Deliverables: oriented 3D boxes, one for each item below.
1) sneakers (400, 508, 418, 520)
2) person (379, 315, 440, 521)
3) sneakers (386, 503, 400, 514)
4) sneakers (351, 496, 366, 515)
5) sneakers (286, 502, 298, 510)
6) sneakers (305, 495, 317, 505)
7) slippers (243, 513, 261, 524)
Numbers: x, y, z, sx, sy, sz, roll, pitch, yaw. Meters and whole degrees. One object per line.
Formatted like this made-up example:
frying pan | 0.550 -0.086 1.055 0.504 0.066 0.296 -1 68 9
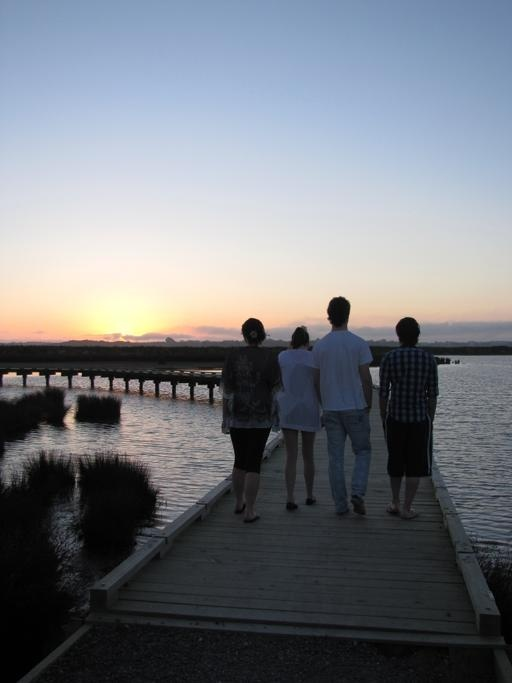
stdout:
sneakers | 1.379 1.556 5.547 0.067 0.072 0.181 -2 -5 43
person | 1.348 0.702 5.404 0.488 1.816 0.511 -2 1 15
sneakers | 1.286 1.565 5.780 0.066 0.130 0.136 2 2 0
sneakers | 0.920 1.454 5.508 0.086 0.252 0.099 -1 30 22
sneakers | 0.336 1.573 5.871 0.047 0.056 0.130 2 -4 13
sneakers | 0.539 1.583 6.112 0.051 0.059 0.137 2 2 13
slippers | -0.022 1.565 5.411 0.177 0.054 0.106 -3 1 -30
